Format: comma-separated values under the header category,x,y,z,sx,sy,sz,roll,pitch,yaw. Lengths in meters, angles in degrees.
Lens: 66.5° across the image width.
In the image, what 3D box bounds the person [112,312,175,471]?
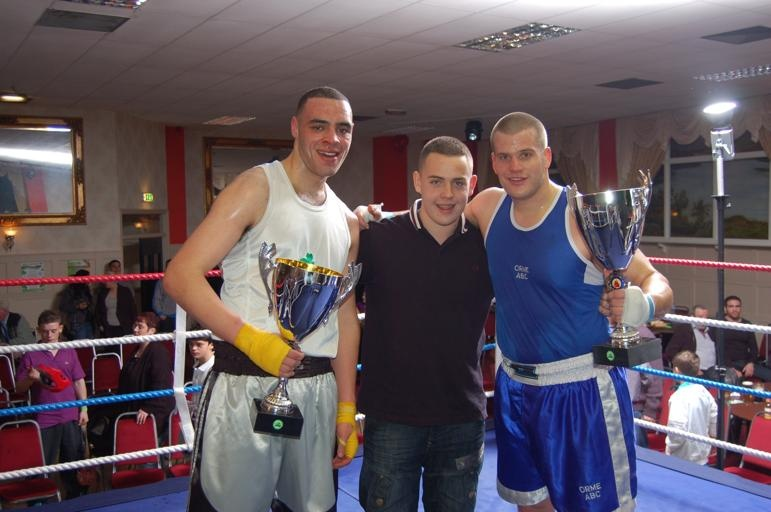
category,x,y,z,sx,sy,sz,roll,pitch,yaw
person,-2.458,1.328,5.933,0.659,1.378,0.383,10,8,38

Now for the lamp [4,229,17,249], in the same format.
category,x,y,z,sx,sy,sz,roll,pitch,yaw
lamp,-5.993,-0.260,9.372,0.180,0.359,0.053,-3,2,-35

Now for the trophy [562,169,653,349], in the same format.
category,x,y,z,sx,sy,sz,roll,pitch,yaw
trophy,1.136,0.033,2.911,0.342,0.796,0.432,0,-7,-44

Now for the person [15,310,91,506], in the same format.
category,x,y,z,sx,sy,sz,roll,pitch,yaw
person,-3.266,1.565,5.717,0.594,1.989,0.894,-3,-2,-7

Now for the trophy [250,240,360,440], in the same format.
category,x,y,z,sx,sy,sz,roll,pitch,yaw
trophy,-0.428,0.403,2.672,0.491,0.797,0.339,12,-5,-7
